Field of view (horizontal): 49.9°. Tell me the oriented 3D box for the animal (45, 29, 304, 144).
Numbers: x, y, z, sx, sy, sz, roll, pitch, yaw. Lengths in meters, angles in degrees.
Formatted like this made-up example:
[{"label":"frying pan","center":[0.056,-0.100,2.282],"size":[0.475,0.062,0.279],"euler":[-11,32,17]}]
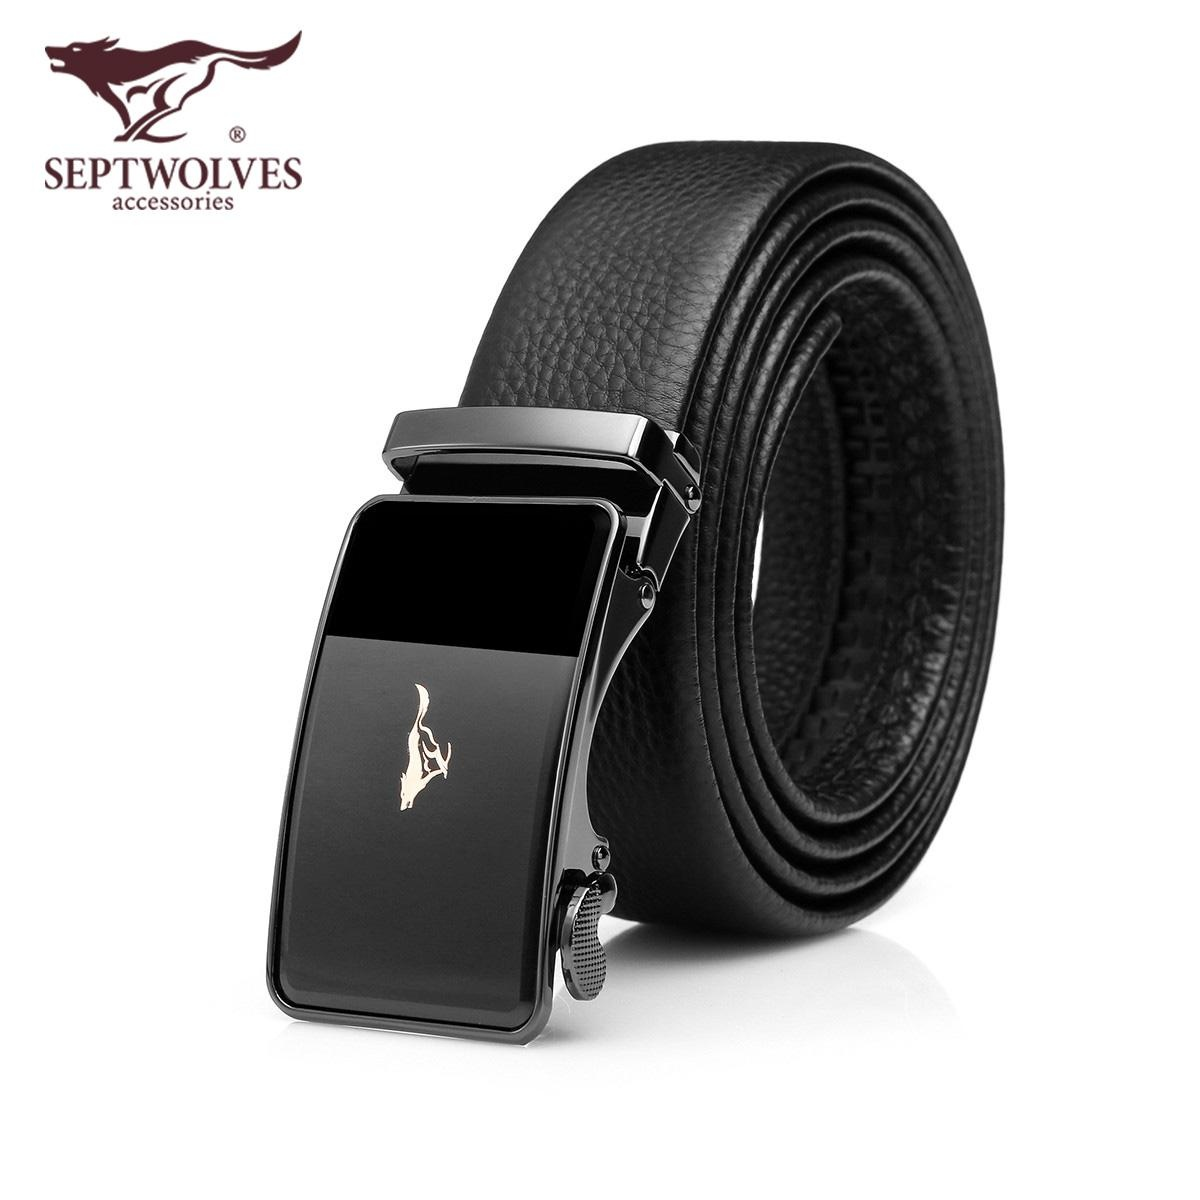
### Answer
[{"label":"animal","center":[-0.778,-0.930,2.340],"size":[0.473,0.202,0.080],"euler":[-16,43,-33]}]
